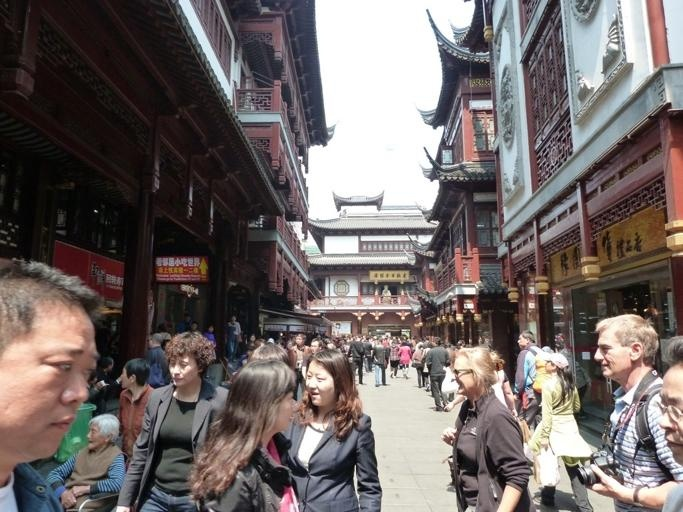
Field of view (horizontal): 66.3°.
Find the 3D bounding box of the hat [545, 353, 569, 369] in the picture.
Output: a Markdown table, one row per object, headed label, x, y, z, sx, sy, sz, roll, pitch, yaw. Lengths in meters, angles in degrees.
| label | x | y | z | sx | sy | sz | roll | pitch | yaw |
| --- | --- | --- | --- | --- | --- | --- | --- | --- | --- |
| hat | 2.723 | 1.301 | 6.539 | 0.192 | 0.119 | 0.299 | 29 | 6 | 10 |
